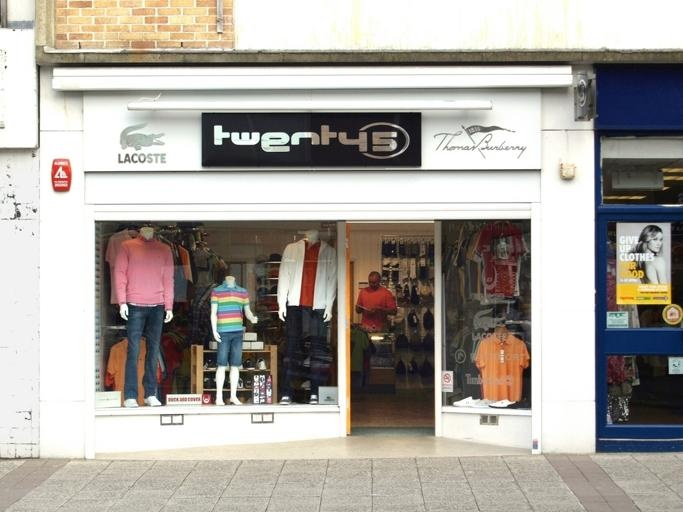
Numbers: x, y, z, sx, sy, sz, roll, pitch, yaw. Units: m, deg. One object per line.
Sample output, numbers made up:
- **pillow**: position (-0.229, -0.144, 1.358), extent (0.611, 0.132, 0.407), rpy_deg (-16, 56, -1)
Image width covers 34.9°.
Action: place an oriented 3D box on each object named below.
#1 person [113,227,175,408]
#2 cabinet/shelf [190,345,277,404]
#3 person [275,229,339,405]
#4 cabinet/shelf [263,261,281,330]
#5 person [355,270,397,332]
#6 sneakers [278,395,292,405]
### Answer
- **person**: position (-2.577, 0.789, 14.253), extent (0.744, 2.337, 0.209), rpy_deg (-1, -3, -12)
- **cabinet/shelf**: position (-1.451, 1.606, 14.406), extent (0.841, 0.733, 0.259), rpy_deg (0, -5, -7)
- **person**: position (-0.416, 0.812, 14.424), extent (0.783, 2.265, 0.230), rpy_deg (-1, -3, -4)
- **cabinet/shelf**: position (-0.885, 0.510, 14.466), extent (0.191, 0.889, 0.102), rpy_deg (-1, -3, -2)
- **person**: position (0.607, 0.730, 16.547), extent (0.665, 0.863, 0.256), rpy_deg (1, -4, -33)
- **sneakers**: position (-0.714, 1.918, 14.363), extent (0.118, 0.105, 0.281), rpy_deg (1, 3, 0)
